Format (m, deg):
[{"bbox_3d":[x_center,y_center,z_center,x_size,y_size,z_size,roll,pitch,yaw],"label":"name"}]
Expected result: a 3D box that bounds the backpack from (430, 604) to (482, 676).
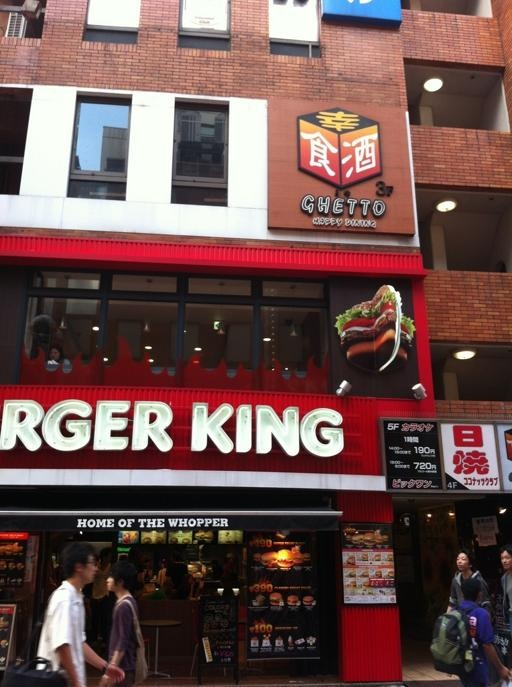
[{"bbox_3d":[1.611,2.471,4.516,0.361,0.513,0.295,-10,-21,21],"label":"backpack"}]
